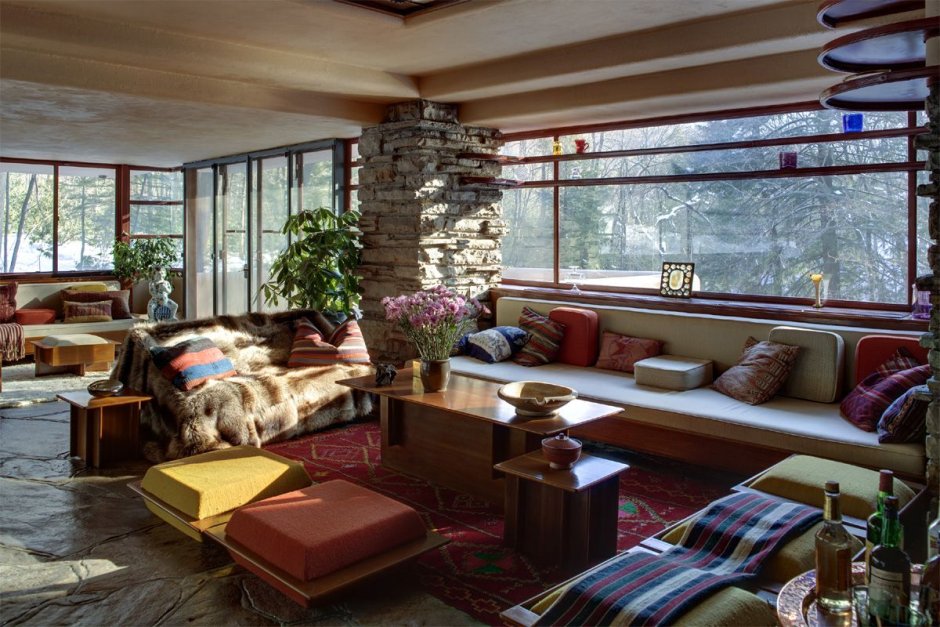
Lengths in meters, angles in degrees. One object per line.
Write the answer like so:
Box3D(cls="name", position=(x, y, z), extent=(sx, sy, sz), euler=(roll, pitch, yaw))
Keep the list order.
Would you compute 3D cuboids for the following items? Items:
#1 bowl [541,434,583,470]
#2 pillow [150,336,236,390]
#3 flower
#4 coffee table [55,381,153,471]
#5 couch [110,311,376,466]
Box3D(cls="bowl", position=(0.575, 0.845, 3.812), extent=(0.248, 0.127, 0.230), euler=(2, -3, 0))
Box3D(cls="pillow", position=(-2.347, 0.418, 5.297), extent=(0.531, 0.142, 0.495), euler=(36, 27, 10))
Box3D(cls="flower", position=(-0.324, 0.093, 4.849), extent=(0.832, 0.387, 0.668), euler=(-1, 4, 43))
Box3D(cls="coffee table", position=(-2.939, 0.915, 5.299), extent=(0.819, 0.532, 0.807), euler=(-5, 9, -42))
Box3D(cls="couch", position=(-2.013, 0.520, 5.800), extent=(1.323, 0.811, 2.328), euler=(24, 19, 35))
